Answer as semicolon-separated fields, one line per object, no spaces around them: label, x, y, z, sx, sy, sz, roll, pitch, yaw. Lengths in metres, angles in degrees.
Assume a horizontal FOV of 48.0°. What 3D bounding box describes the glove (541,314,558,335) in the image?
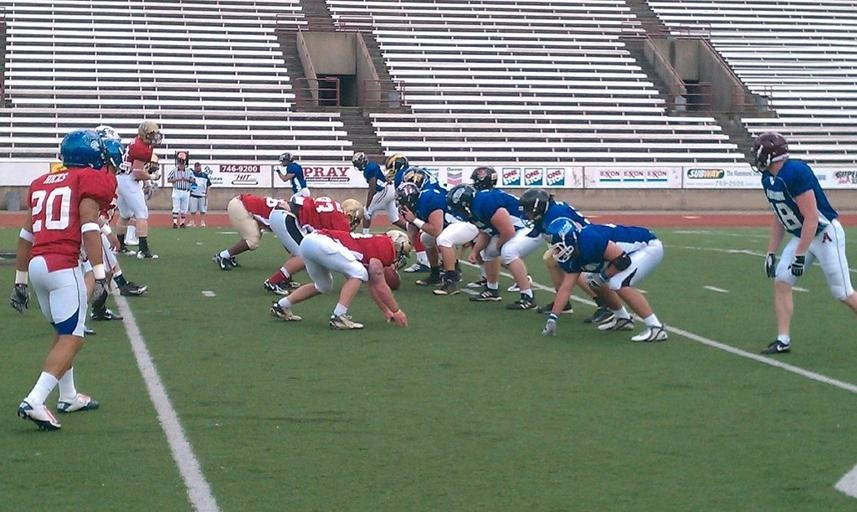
glove;1.509;0.839;11.694;0.125;0.282;0.174;-3;27;-38

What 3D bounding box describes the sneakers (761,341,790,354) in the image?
sneakers;4.033;1.072;11.185;0.399;0.148;0.133;0;1;-8

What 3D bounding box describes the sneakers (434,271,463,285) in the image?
sneakers;0.336;0.337;14.498;0.486;0.178;0.157;4;-8;-36

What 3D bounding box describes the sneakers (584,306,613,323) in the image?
sneakers;2.160;0.788;12.444;0.441;0.170;0.156;-16;0;19

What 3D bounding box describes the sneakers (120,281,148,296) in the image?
sneakers;-4.047;0.450;13.198;0.413;0.176;0.142;-1;35;-8

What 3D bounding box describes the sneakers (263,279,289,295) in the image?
sneakers;-2.116;0.427;13.427;0.472;0.153;0.189;12;-35;-25

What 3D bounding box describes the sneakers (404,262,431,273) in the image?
sneakers;-0.168;0.212;15.703;0.468;0.161;0.156;1;-1;-2

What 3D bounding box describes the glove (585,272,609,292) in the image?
glove;2.042;0.306;11.726;0.182;0.104;0.246;29;-14;-22

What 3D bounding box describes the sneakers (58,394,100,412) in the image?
sneakers;-3.471;1.486;9.516;0.432;0.161;0.156;-3;10;-24

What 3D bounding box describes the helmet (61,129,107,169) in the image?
helmet;-3.410;-1.044;9.436;0.348;0.330;0.441;7;12;21

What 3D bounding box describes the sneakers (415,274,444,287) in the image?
sneakers;0.026;0.390;14.603;0.469;0.162;0.156;0;3;-9

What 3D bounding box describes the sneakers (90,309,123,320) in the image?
sneakers;-4.019;0.728;11.981;0.419;0.152;0.135;0;14;-16

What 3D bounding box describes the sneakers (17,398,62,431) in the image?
sneakers;-3.738;1.542;9.221;0.335;0.124;0.158;36;17;-21

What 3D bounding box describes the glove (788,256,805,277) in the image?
glove;4.206;0.123;10.989;0.157;0.269;0.153;-4;9;-6

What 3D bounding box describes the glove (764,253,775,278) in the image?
glove;4.176;0.128;11.739;0.151;0.405;0.350;-1;-7;16

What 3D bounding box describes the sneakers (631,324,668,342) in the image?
sneakers;2.601;0.949;11.608;0.537;0.192;0.169;-2;3;1

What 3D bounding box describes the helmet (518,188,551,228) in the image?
helmet;1.344;-0.598;11.944;0.417;0.368;0.346;10;33;32

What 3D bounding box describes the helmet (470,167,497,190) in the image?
helmet;0.790;-1.104;13.740;0.399;0.316;0.305;6;10;18

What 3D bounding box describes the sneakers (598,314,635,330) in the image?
sneakers;2.368;0.838;12.082;0.561;0.210;0.172;1;14;6

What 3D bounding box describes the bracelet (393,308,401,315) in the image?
bracelet;-0.370;0.669;11.738;0.070;0.079;0.196;-2;8;6

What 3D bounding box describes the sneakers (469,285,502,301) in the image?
sneakers;0.840;0.548;13.593;0.555;0.223;0.173;2;3;5

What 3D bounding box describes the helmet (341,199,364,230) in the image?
helmet;-1.065;-0.570;13.432;0.281;0.403;0.630;-3;9;-5

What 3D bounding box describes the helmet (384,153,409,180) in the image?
helmet;-0.523;-1.461;15.618;0.435;0.368;0.322;4;6;15

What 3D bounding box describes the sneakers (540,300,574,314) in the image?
sneakers;1.737;0.678;12.928;0.571;0.226;0.180;-1;10;-8

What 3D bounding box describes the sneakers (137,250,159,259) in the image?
sneakers;-4.678;-0.009;16.191;0.442;0.163;0.137;-1;9;-13

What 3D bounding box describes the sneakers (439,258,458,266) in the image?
sneakers;0.326;0.107;13.945;0.201;0.076;0.106;1;-1;-9

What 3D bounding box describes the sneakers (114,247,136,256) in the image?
sneakers;-5.199;-0.068;16.471;0.385;0.156;0.115;-2;11;-15

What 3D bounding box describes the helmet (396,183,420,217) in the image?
helmet;-0.305;-0.813;13.713;0.444;0.393;0.336;0;21;-1

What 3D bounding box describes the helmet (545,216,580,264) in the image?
helmet;1.618;-0.174;11.398;0.408;0.517;0.251;-3;9;-2

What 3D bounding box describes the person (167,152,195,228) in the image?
person;-5.624;-1.508;21.919;0.559;1.683;1.113;-5;9;-14

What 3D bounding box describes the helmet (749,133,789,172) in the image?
helmet;3.914;-1.180;11.051;0.372;0.458;0.426;0;9;16

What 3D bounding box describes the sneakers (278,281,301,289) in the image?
sneakers;-1.973;0.417;13.807;0.270;0.081;0.105;-5;-28;-11

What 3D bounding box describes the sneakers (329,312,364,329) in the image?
sneakers;-1.027;0.814;11.892;0.523;0.191;0.168;0;4;-19

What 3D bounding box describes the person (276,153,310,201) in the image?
person;-2.805;-1.661;19.886;0.433;0.895;1.895;-4;9;-10

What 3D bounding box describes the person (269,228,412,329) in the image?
person;-1.084;0.295;11.913;1.547;1.219;0.831;-3;9;-3

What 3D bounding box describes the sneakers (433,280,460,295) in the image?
sneakers;0.274;0.491;13.903;0.437;0.165;0.151;0;-2;24

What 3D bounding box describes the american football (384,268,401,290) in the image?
american football;-0.488;0.308;12.847;0.213;0.099;0.273;22;-25;22

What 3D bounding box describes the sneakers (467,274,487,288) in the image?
sneakers;0.747;0.423;14.591;0.367;0.134;0.123;-1;3;-13
